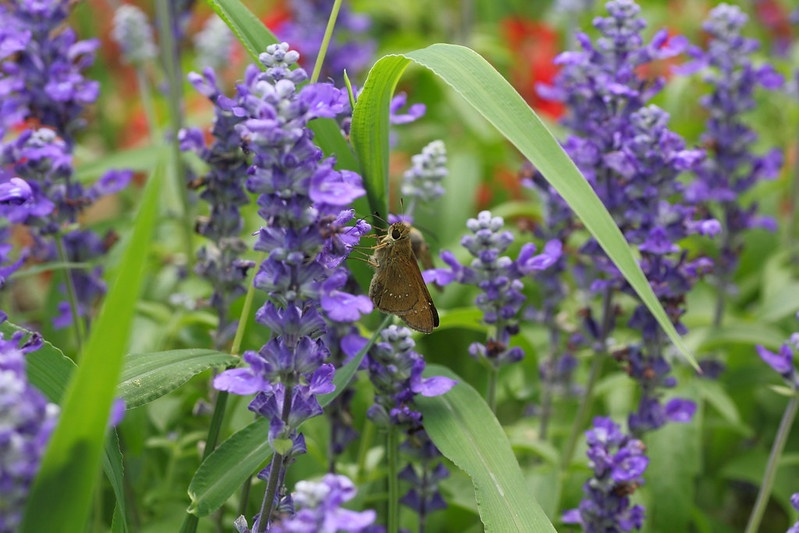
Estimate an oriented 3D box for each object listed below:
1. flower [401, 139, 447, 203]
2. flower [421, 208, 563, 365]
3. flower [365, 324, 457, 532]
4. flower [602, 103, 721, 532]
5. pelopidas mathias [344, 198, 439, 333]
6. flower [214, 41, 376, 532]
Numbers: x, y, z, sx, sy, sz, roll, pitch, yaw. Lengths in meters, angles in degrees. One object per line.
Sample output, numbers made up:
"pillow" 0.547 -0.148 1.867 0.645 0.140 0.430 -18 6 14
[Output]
"flower" 0.068 -0.276 2.270 0.121 0.170 0.169 -1 9 0
"flower" 0.267 0.016 2.111 0.376 0.415 0.352 0 19 34
"flower" 0.041 0.468 2.135 0.222 0.706 0.438 0 9 3
"flower" 0.674 0.114 2.061 0.282 1.061 0.584 2 10 18
"pelopidas mathias" 0.009 0.004 2.082 0.110 0.290 0.257 -13 -3 7
"flower" -0.231 0.058 1.780 0.333 1.117 0.434 -1 9 -3
